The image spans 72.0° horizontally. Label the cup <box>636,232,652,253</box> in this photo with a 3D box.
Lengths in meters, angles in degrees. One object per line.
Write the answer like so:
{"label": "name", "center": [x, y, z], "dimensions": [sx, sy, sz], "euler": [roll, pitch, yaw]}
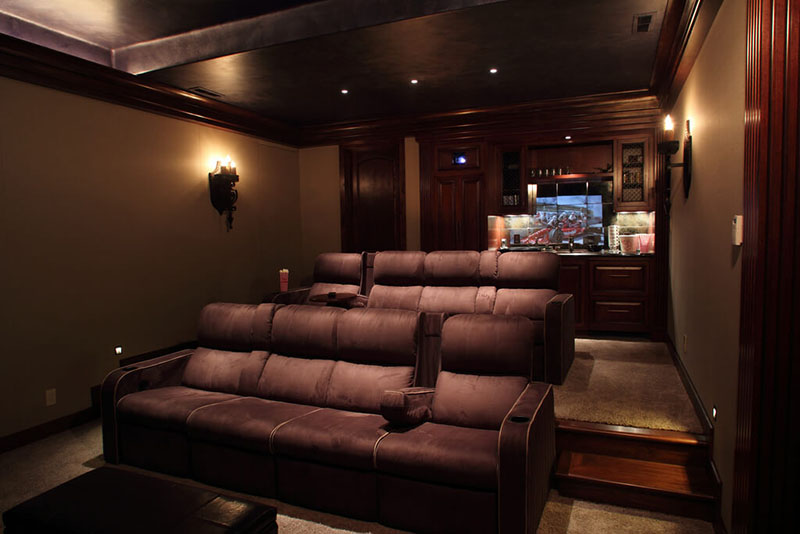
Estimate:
{"label": "cup", "center": [3.163, -0.309, 7.113], "dimensions": [0.216, 0.236, 0.515], "euler": [1, 5, 23]}

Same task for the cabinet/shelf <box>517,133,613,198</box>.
{"label": "cabinet/shelf", "center": [2.272, -1.397, 7.491], "dimensions": [1.151, 0.543, 0.431], "euler": [0, 5, 14]}

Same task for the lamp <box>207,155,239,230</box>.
{"label": "lamp", "center": [-2.198, -0.910, 7.024], "dimensions": [0.241, 0.864, 0.491], "euler": [0, 5, 17]}

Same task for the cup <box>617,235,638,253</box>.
{"label": "cup", "center": [2.950, -0.290, 7.124], "dimensions": [0.227, 0.173, 0.209], "euler": [2, -1, 0]}
